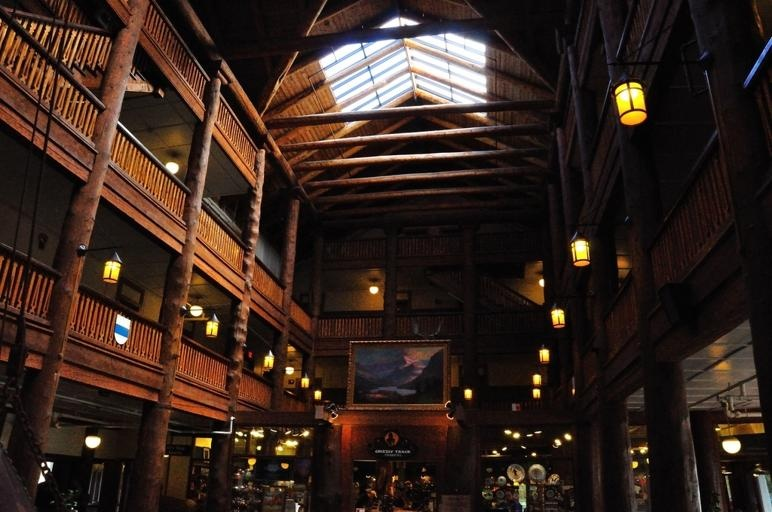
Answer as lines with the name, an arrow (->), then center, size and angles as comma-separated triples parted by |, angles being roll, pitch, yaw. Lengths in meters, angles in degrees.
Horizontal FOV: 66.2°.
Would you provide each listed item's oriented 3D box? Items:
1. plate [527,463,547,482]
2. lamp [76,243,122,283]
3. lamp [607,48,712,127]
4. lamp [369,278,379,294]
plate -> 6.027, 8.643, 23.478 | 0.631, 0.660, 0.844 | -8, -27, 16
lamp -> -7.150, 0.097, 14.823 | 1.129, 0.802, 0.445 | 15, -5, -7
lamp -> 5.119, -3.188, 11.011 | 1.418, 2.212, 0.613 | -20, -46, 16
lamp -> -0.652, 1.650, 31.678 | 0.700, 0.950, 0.707 | 0, -19, 4
